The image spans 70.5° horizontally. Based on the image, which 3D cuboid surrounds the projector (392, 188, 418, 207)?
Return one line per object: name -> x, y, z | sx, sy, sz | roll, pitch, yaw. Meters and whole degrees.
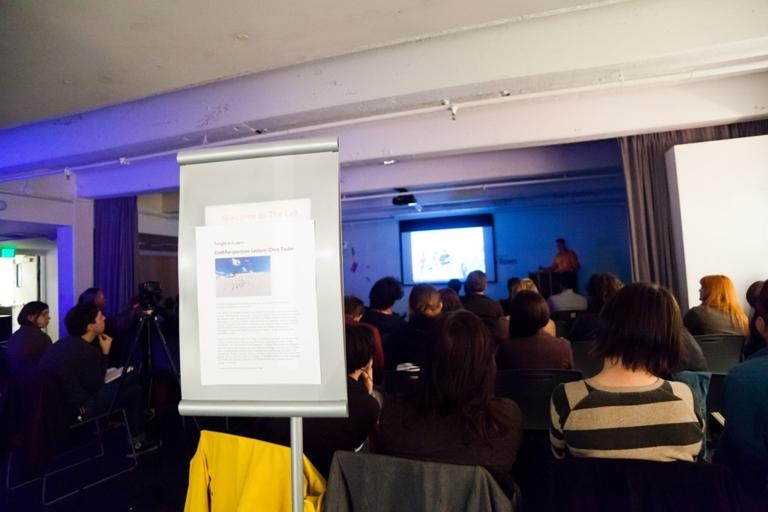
projector -> 0.344, -0.941, 8.798 | 0.274, 0.169, 0.266 | 1, 4, 20
